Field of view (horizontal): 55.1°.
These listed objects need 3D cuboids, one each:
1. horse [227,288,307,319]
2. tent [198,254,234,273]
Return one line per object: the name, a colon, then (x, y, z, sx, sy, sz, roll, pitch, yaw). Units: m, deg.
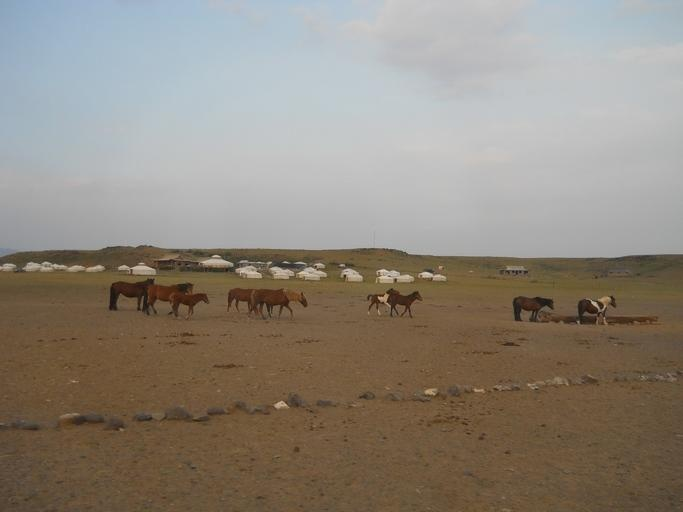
horse: (-3.439, 2.439, 33.913, 4.110, 1.590, 3.065, -2, 2, 28)
tent: (-25.745, 1.818, 135.088, 6.307, 2.169, 5.535, 0, -1, 0)
